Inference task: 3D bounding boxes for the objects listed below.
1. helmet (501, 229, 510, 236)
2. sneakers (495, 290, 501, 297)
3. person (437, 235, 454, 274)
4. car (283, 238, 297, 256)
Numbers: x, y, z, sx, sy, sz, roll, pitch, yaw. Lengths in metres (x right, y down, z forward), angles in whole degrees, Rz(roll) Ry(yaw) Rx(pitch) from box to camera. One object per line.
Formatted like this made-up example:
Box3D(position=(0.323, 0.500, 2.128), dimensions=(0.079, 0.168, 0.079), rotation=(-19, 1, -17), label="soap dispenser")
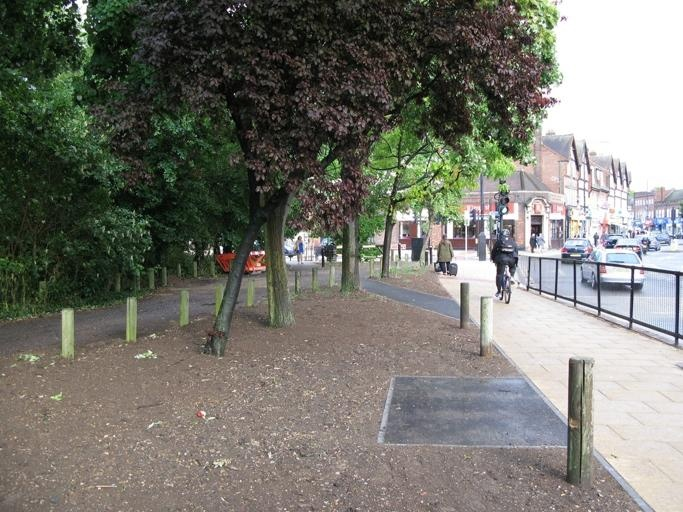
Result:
Box3D(position=(4.787, -0.670, 18.288), dimensions=(0.217, 0.226, 0.192), rotation=(-15, 19, -8), label="helmet")
Box3D(position=(4.848, 1.184, 19.502), dimensions=(0.186, 0.113, 0.259), rotation=(2, 6, 11), label="sneakers")
Box3D(position=(4.872, 0.012, 29.762), dimensions=(0.659, 1.583, 1.405), rotation=(2, 9, 9), label="person")
Box3D(position=(-3.526, -0.583, 42.977), dimensions=(1.218, 1.199, 2.175), rotation=(0, -2, -16), label="car")
